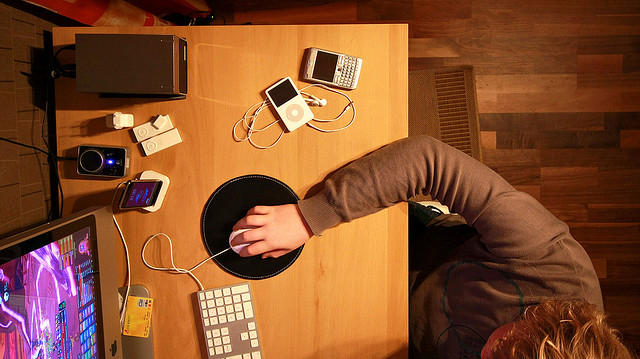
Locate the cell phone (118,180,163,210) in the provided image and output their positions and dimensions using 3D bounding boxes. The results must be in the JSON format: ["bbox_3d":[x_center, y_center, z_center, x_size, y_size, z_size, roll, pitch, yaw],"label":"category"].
[{"bbox_3d":[-0.830,0.055,2.114,0.224,0.166,0.026,-34,78,34],"label":"cell phone"}]

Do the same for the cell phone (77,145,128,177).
[{"bbox_3d":[-0.986,-0.086,2.117,0.067,0.211,0.120,1,89,44],"label":"cell phone"}]

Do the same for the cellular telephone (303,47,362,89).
[{"bbox_3d":[0.052,-0.483,2.092,0.258,0.048,0.132,9,96,0],"label":"cellular telephone"}]
